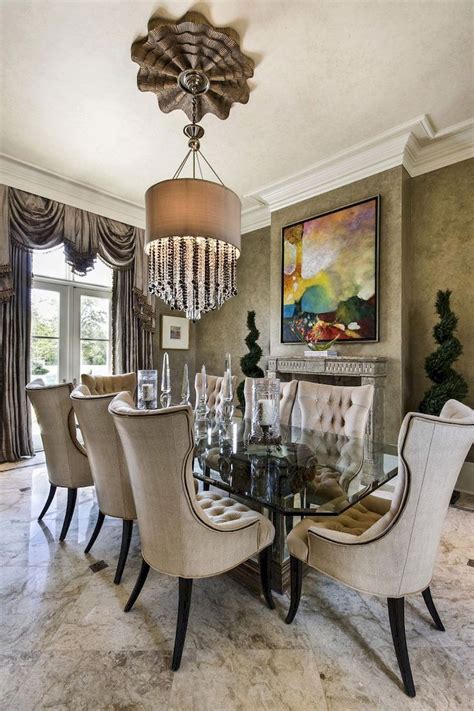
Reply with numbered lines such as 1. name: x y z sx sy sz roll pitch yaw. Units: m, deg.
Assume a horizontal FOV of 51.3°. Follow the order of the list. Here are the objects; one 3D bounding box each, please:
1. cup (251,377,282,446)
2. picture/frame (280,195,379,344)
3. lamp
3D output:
1. cup: 0.142 0.273 2.380 0.162 0.317 0.162 1 -1 0
2. picture/frame: 0.836 -0.729 4.282 0.056 1.448 1.217 5 -6 -39
3. lamp: -0.256 -1.016 2.858 0.728 1.553 0.661 -9 -12 44
